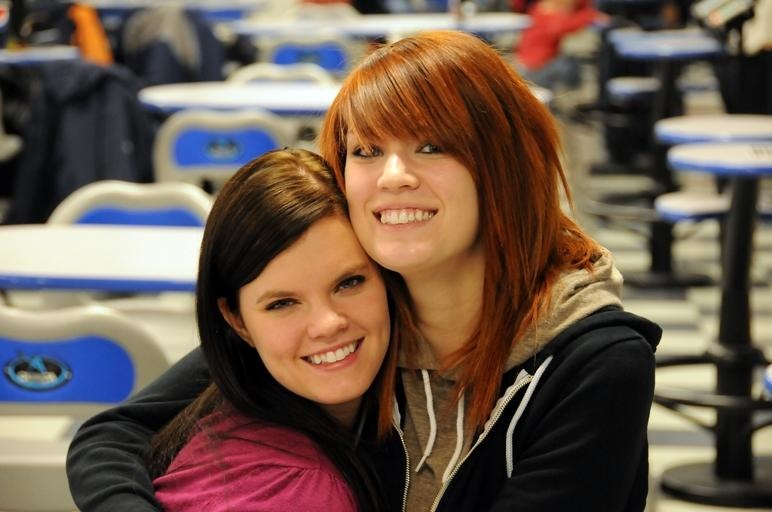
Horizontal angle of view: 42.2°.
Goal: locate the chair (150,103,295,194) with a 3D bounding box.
[{"bbox_3d":[-0.709,-0.530,4.772,0.552,0.643,0.474,1,27,-2],"label":"chair"}]
